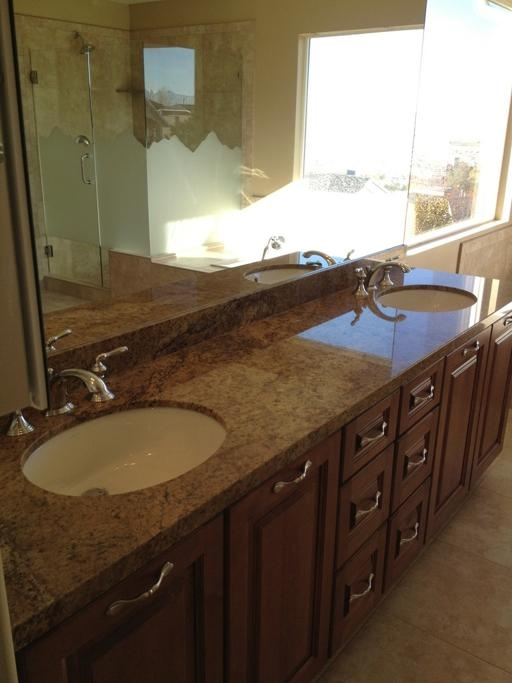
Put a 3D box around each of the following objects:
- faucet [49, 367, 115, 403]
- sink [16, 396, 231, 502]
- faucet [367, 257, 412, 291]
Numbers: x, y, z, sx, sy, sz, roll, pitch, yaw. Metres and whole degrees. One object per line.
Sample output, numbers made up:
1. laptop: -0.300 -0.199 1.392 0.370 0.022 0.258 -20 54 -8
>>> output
1. faucet: -0.369 0.091 1.165 0.143 0.052 0.048 18 29 26
2. sink: -0.276 0.226 1.186 0.400 0.123 0.188 -9 22 -24
3. faucet: 0.587 -0.290 2.468 0.083 0.106 0.165 16 26 41
